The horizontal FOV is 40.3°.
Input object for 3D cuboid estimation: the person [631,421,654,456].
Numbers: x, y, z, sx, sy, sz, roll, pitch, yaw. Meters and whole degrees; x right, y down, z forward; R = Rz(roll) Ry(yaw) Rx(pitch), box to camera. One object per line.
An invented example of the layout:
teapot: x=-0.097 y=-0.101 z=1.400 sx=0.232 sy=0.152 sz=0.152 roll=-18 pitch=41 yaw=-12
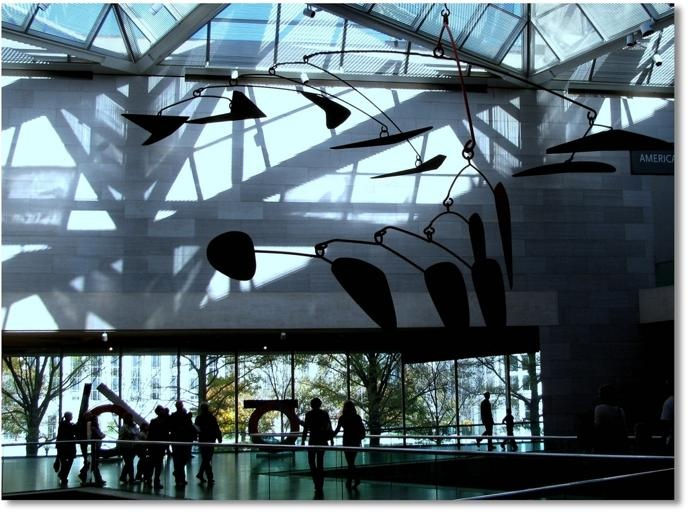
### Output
person: x=6.613 y=4.050 z=20.800 sx=0.415 sy=0.607 sz=1.168 roll=-4 pitch=-9 yaw=16

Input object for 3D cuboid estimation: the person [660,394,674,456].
person: x=7.355 y=3.834 z=21.336 sx=0.351 sy=0.917 sz=0.743 roll=2 pitch=-9 yaw=13

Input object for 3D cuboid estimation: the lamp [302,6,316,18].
lamp: x=-0.998 y=-7.112 z=27.172 sx=0.266 sy=0.249 sz=0.414 roll=30 pitch=2 yaw=-31

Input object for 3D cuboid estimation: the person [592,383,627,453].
person: x=5.665 y=3.489 z=20.124 sx=0.686 sy=1.400 sz=0.646 roll=-4 pitch=-10 yaw=12
